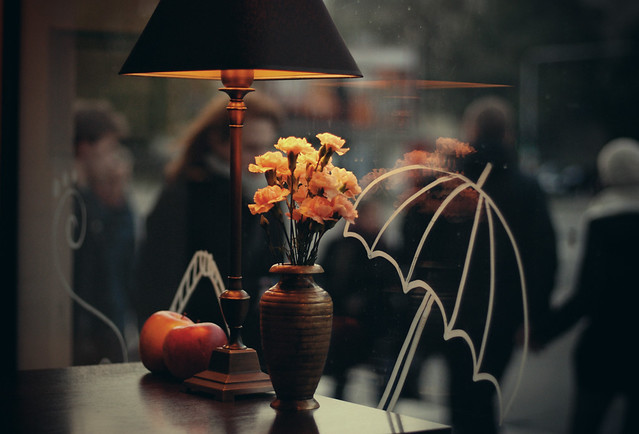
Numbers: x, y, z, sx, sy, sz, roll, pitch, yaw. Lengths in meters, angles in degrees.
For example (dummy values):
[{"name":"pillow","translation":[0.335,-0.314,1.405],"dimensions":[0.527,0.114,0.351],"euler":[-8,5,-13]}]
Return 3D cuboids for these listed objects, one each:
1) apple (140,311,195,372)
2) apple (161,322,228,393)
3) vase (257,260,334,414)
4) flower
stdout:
[{"name":"apple","translation":[-0.470,0.352,2.149],"dimensions":[0.155,0.190,0.166],"euler":[8,1,10]},{"name":"apple","translation":[-0.382,0.378,2.072],"dimensions":[0.174,0.204,0.188],"euler":[9,10,-14]},{"name":"vase","translation":[-0.064,0.316,1.884],"dimensions":[0.191,0.386,0.200],"euler":[1,2,4]},{"name":"flower","translation":[-0.053,-0.076,1.966],"dimensions":[0.287,0.381,0.312],"euler":[-1,0,-8]}]
